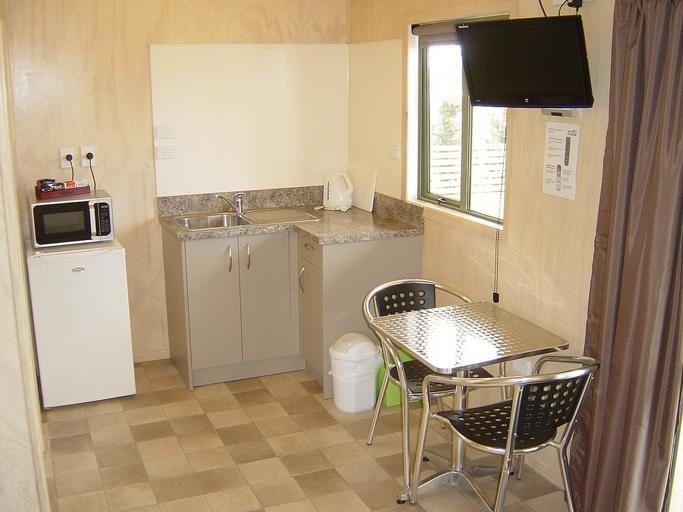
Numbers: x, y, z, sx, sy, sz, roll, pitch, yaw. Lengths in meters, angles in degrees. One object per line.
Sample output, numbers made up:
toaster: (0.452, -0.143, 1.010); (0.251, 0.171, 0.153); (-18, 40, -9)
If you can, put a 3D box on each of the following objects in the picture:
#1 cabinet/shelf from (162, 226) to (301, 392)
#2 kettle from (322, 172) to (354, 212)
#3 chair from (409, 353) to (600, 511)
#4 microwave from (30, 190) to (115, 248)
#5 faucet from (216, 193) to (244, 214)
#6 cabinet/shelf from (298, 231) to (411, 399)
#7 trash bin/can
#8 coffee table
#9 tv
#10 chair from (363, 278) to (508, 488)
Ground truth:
cabinet/shelf: (-0.849, 0.279, 4.443); (1.090, 1.307, 1.013); (4, 24, 3)
kettle: (-0.031, -0.552, 4.588); (0.343, 0.399, 0.249); (3, 5, 27)
chair: (0.840, 0.896, 2.664); (0.620, 0.791, 0.592); (-8, 21, -21)
microwave: (-1.943, -0.296, 3.810); (0.561, 0.346, 0.347); (-9, 31, -31)
faucet: (-0.912, -0.454, 4.502); (0.228, 0.171, 0.173); (5, 18, 29)
cabinet/shelf: (0.104, 0.363, 4.239); (0.829, 1.312, 0.775); (-2, 15, -17)
trash bin/can: (0.100, 0.832, 3.787); (0.372, 0.512, 0.369); (-1, 0, -40)
coffee table: (0.579, 0.789, 3.166); (0.957, 1.069, 1.037); (-12, 26, -24)
tv: (0.896, -0.947, 2.619); (0.070, 0.445, 0.764); (-31, 29, -20)
chair: (0.564, 0.729, 3.177); (0.811, 1.034, 0.761); (-4, 11, -10)
